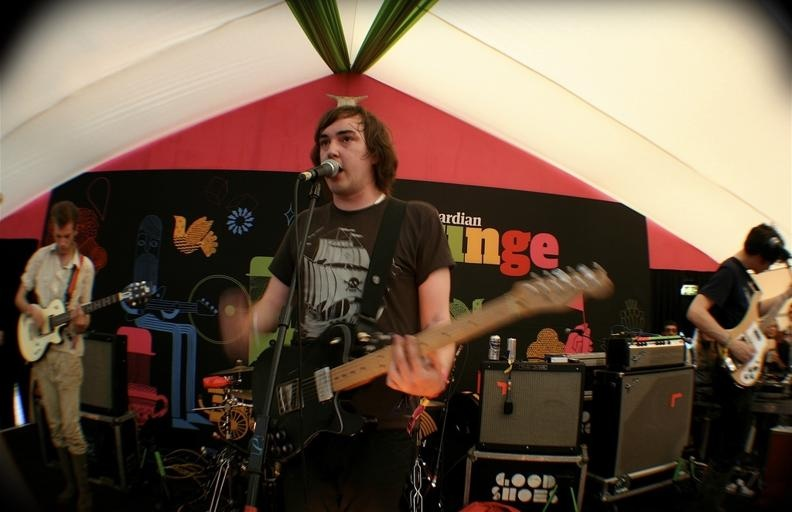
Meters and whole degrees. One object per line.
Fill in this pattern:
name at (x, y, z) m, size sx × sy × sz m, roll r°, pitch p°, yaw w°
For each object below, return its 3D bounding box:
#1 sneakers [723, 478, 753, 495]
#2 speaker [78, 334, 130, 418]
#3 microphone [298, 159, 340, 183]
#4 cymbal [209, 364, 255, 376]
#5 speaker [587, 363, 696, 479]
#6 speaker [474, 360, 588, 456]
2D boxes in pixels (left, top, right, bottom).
sneakers at (3.198, 2.157, 5.640) m, size 0.213 × 0.101 × 0.133 m, roll 4°, pitch -7°, yaw -9°
speaker at (-2.865, 1.152, 5.912) m, size 0.422 × 0.703 × 0.113 m, roll 3°, pitch -2°, yaw 7°
microphone at (-0.524, -0.611, 4.328) m, size 0.115 × 0.116 × 0.391 m, roll 12°, pitch 18°, yaw 31°
cymbal at (-1.529, 1.040, 5.586) m, size 0.362 × 0.082 × 0.366 m, roll -3°, pitch -11°, yaw 10°
speaker at (2.338, 1.527, 5.744) m, size 1.087 × 0.996 × 0.404 m, roll 1°, pitch 4°, yaw -30°
speaker at (1.183, 1.350, 5.315) m, size 0.819 × 0.738 × 0.343 m, roll 2°, pitch 0°, yaw 1°
